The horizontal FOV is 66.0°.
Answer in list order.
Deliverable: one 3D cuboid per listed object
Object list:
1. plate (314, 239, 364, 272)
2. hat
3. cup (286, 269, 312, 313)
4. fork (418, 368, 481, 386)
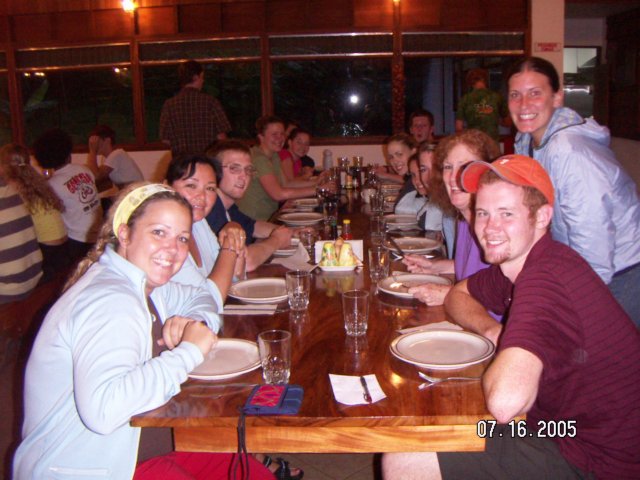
[{"bbox_3d":[0.079,0.078,2.477,0.197,0.082,0.169,-1,6,15],"label":"plate"},{"bbox_3d":[0.568,-0.208,1.609,0.305,0.154,0.194,11,2,-12],"label":"hat"},{"bbox_3d":[-0.088,0.203,1.918,0.108,0.158,0.104,-3,21,1],"label":"cup"},{"bbox_3d":[0.359,0.394,1.397,0.143,0.022,0.054,-3,21,-2],"label":"fork"}]
